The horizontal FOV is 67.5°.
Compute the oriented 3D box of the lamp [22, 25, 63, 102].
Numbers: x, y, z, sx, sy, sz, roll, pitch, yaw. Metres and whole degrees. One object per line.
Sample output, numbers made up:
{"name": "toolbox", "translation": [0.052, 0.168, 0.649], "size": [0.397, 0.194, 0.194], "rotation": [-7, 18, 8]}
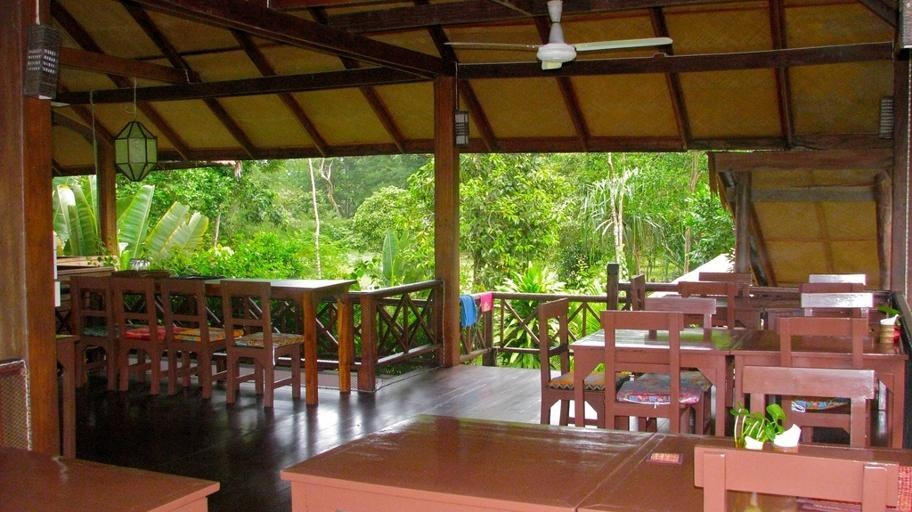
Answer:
{"name": "lamp", "translation": [-3.068, -1.440, 5.034], "size": [0.268, 0.552, 0.183], "rotation": [-6, 13, -24]}

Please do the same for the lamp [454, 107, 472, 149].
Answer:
{"name": "lamp", "translation": [0.059, -1.580, 8.383], "size": [0.124, 0.425, 0.193], "rotation": [-7, 14, -29]}

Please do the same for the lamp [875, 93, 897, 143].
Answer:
{"name": "lamp", "translation": [5.007, -1.620, 7.928], "size": [0.154, 0.484, 0.297], "rotation": [7, 14, 31]}

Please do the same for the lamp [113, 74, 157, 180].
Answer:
{"name": "lamp", "translation": [-3.865, -1.273, 8.217], "size": [0.450, 0.725, 0.328], "rotation": [-6, 13, -24]}

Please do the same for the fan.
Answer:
{"name": "fan", "translation": [1.100, -1.934, 6.684], "size": [1.564, 0.510, 1.609], "rotation": [1, 4, -1]}
